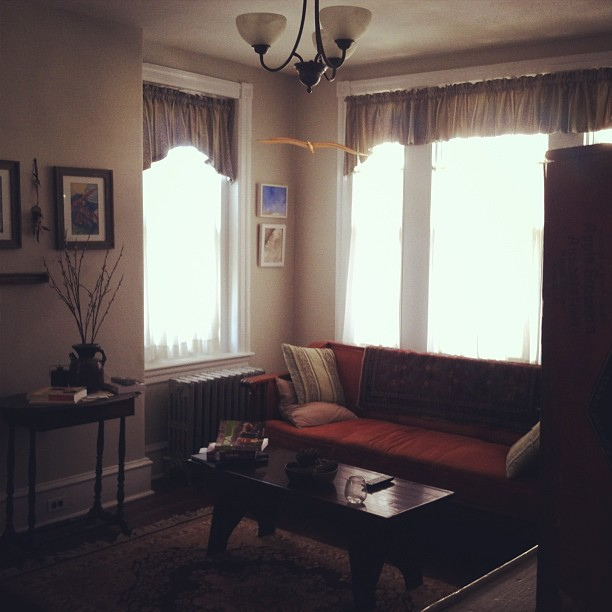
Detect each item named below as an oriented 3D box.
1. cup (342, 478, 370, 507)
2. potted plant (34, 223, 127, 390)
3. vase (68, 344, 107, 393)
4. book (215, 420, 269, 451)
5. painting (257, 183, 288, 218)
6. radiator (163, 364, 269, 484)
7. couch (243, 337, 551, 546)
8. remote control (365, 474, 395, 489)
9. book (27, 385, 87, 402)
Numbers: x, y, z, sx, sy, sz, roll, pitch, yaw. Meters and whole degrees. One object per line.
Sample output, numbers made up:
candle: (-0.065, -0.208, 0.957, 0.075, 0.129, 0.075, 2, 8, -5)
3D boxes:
cup: (0.223, 0.807, 2.527, 0.093, 0.099, 0.101, -2, 0, 0)
potted plant: (-1.187, -0.015, 3.309, 0.374, 0.929, 0.563, 2, 3, 29)
vase: (-1.185, 0.337, 3.139, 0.197, 0.259, 0.127, -1, 3, -33)
book: (-0.341, 0.699, 3.087, 0.191, 0.051, 0.205, 1, 21, 1)
painting: (-0.282, -0.862, 4.715, 0.281, 0.258, 0.036, -2, 2, -44)
radiator: (-0.591, 0.766, 3.664, 0.262, 0.718, 0.707, 3, 4, 42)
couch: (0.636, 0.861, 3.670, 0.780, 1.069, 2.252, -2, 2, -43)
remote control: (0.348, 0.833, 2.755, 0.085, 0.026, 0.209, 2, 3, 35)
book: (-1.271, 0.454, 2.960, 0.269, 0.057, 0.183, 0, 3, -11)
